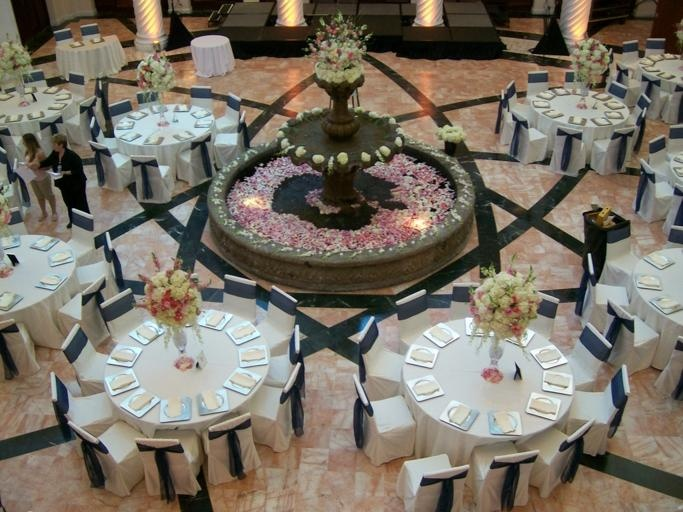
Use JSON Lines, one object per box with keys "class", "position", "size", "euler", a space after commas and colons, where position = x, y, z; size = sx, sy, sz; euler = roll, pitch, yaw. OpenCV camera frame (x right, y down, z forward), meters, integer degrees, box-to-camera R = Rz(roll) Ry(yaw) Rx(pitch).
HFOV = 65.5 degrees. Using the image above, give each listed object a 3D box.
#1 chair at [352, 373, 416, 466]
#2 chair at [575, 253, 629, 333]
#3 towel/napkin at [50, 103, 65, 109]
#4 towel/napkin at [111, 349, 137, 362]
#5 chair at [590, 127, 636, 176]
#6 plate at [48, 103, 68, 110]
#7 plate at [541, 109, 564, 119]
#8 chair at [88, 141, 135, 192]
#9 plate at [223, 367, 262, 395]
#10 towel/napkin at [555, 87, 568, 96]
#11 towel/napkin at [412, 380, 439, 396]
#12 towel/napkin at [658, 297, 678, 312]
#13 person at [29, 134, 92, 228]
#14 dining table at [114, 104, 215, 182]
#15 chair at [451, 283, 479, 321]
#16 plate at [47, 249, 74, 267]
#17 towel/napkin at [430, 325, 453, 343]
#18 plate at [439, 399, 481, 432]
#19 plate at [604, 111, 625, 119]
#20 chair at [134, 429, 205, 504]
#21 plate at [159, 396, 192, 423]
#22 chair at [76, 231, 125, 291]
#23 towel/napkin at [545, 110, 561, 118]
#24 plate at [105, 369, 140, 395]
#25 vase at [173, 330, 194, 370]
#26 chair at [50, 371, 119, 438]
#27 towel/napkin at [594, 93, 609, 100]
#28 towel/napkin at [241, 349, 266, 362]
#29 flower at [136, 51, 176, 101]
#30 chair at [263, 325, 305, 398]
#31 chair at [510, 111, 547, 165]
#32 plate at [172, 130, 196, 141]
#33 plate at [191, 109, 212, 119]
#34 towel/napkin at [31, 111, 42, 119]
{"class": "chair", "position": [0.466, 1.759, 5.633], "size": [0.514, 0.718, 0.462], "euler": [-18, 49, -8]}
{"class": "chair", "position": [3.389, 0.496, 6.883], "size": [0.536, 0.813, 0.533], "euler": [-9, 45, 18]}
{"class": "towel/napkin", "position": [-5.597, -2.937, 10.485], "size": [0.181, 0.045, 0.175], "euler": [4, 43, -7]}
{"class": "towel/napkin", "position": [-2.378, 1.087, 5.826], "size": [0.155, 0.024, 0.146], "euler": [12, 41, 5]}
{"class": "chair", "position": [4.918, -1.919, 9.734], "size": [0.465, 0.757, 0.547], "euler": [-16, 53, -1]}
{"class": "plate", "position": [-5.581, -2.939, 10.492], "size": [0.199, 0.052, 0.199], "euler": [2, 36, -6]}
{"class": "plate", "position": [3.980, -2.668, 10.043], "size": [0.222, 0.034, 0.251], "euler": [22, 50, 27]}
{"class": "chair", "position": [-4.097, -1.585, 9.561], "size": [0.469, 0.711, 0.529], "euler": [28, 49, 10]}
{"class": "plate", "position": [-1.042, 1.324, 5.622], "size": [0.327, 0.066, 0.277], "euler": [16, 39, 19]}
{"class": "towel/napkin", "position": [4.422, -3.301, 10.796], "size": [0.169, 0.056, 0.275], "euler": [-5, 29, -5]}
{"class": "towel/napkin", "position": [0.869, 1.361, 5.500], "size": [0.193, 0.040, 0.136], "euler": [-8, 45, -7]}
{"class": "towel/napkin", "position": [3.914, 0.585, 6.361], "size": [0.159, 0.037, 0.160], "euler": [-14, 41, -4]}
{"class": "person", "position": [-4.251, -1.220, 8.049], "size": [0.595, 1.292, 0.335], "euler": [8, 36, 12]}
{"class": "dining table", "position": [-3.281, -1.984, 10.452], "size": [1.512, 0.959, 1.606], "euler": [4, 49, 2]}
{"class": "chair", "position": [1.411, 0.524, 6.090], "size": [0.269, 0.512, 0.344], "euler": [-1, 45, 3]}
{"class": "plate", "position": [-3.721, 0.040, 7.060], "size": [0.227, 0.052, 0.235], "euler": [-9, 45, -18]}
{"class": "towel/napkin", "position": [1.140, 0.872, 6.007], "size": [0.125, 0.041, 0.186], "euler": [-26, 39, -10]}
{"class": "plate", "position": [1.157, 1.561, 5.242], "size": [0.250, 0.053, 0.260], "euler": [22, 54, 26]}
{"class": "plate", "position": [5.077, -2.611, 9.918], "size": [0.345, 0.047, 0.298], "euler": [2, 37, 2]}
{"class": "chair", "position": [-1.711, 2.012, 5.304], "size": [0.522, 0.856, 0.489], "euler": [-2, 35, -3]}
{"class": "plate", "position": [-1.672, 1.550, 5.371], "size": [0.321, 0.073, 0.256], "euler": [-4, 37, -6]}
{"class": "chair", "position": [-3.401, 0.100, 7.479], "size": [0.492, 0.673, 0.437], "euler": [-11, 58, -24]}
{"class": "towel/napkin", "position": [4.001, -2.666, 10.054], "size": [0.288, 0.051, 0.306], "euler": [-16, 40, -21]}
{"class": "plate", "position": [-2.319, 1.323, 5.618], "size": [0.313, 0.063, 0.322], "euler": [-19, 41, -24]}
{"class": "vase", "position": [-1.710, 0.979, 5.694], "size": [0.184, 0.352, 0.196], "euler": [-13, -7, 24]}
{"class": "chair", "position": [-2.712, 1.594, 5.658], "size": [0.409, 0.570, 0.384], "euler": [-20, 54, -17]}
{"class": "towel/napkin", "position": [5.121, -3.118, 10.486], "size": [0.181, 0.023, 0.209], "euler": [16, 45, 30]}
{"class": "towel/napkin", "position": [-0.970, 1.087, 5.870], "size": [0.183, 0.023, 0.141], "euler": [-1, 43, -8]}
{"class": "flower", "position": [-3.276, -3.235, 9.496], "size": [0.842, 0.631, 0.670], "euler": [17, 21, 39]}
{"class": "chair", "position": [-0.662, 1.224, 6.064], "size": [0.369, 0.722, 0.416], "euler": [-3, 61, -9]}
{"class": "chair", "position": [3.577, -2.208, 10.150], "size": [0.554, 0.821, 0.539], "euler": [-23, 42, -16]}
{"class": "plate", "position": [-2.840, -2.147, 9.599], "size": [0.345, 0.060, 0.336], "euler": [-26, 44, -31]}
{"class": "plate", "position": [-2.695, -2.722, 10.229], "size": [0.230, 0.045, 0.269], "euler": [0, 39, -3]}
{"class": "towel/napkin", "position": [-5.849, -2.687, 10.204], "size": [0.160, 0.044, 0.178], "euler": [-12, 45, -23]}
